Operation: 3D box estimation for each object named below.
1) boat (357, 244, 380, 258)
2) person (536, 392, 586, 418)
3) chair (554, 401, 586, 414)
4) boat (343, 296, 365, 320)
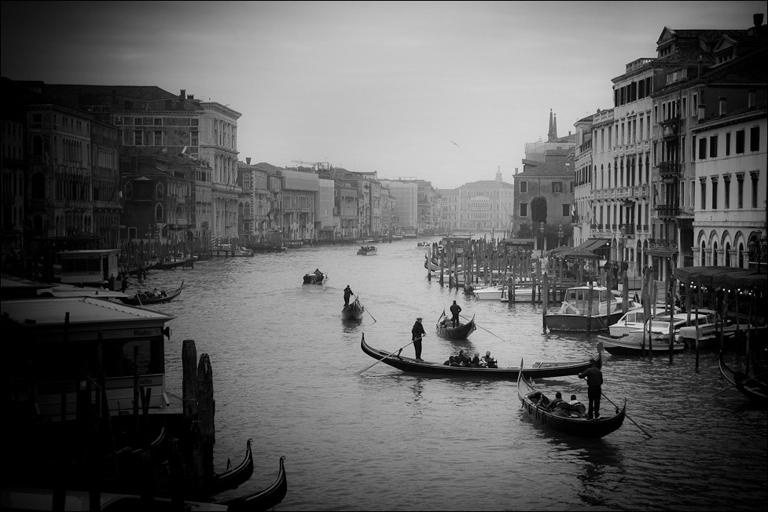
[{"bbox_3d":[-2.881,-0.743,163.289,1.645,1.509,5.594,3,5,16],"label":"boat"},{"bbox_3d":[7.263,6.166,42.114,0.761,0.599,2.992,0,-4,-8],"label":"person"},{"bbox_3d":[7.707,6.226,41.780,0.817,0.347,0.575,1,1,-24],"label":"chair"},{"bbox_3d":[-1.915,3.495,66.949,0.903,0.959,1.441,-1,1,41],"label":"boat"}]
